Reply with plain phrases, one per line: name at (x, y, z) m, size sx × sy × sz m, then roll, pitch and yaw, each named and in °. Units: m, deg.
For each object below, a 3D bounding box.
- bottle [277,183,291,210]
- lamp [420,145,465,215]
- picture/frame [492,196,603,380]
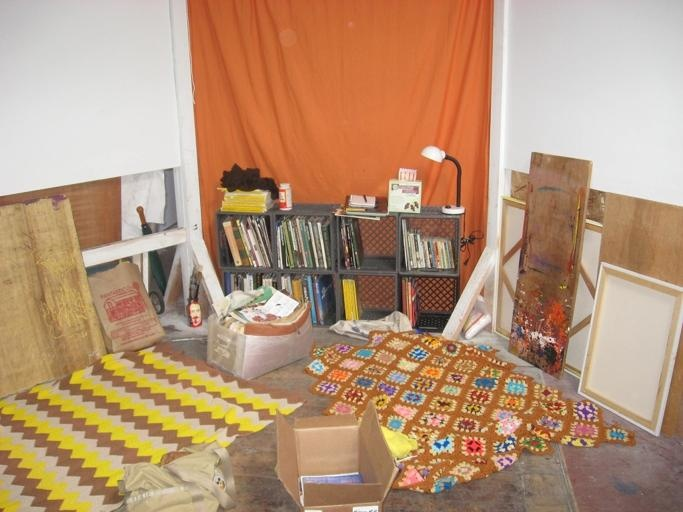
bottle at (-0.543, -0.581, 4.802) m, size 0.137 × 0.247 × 0.233 m, roll -5°, pitch 18°, yaw -7°
lamp at (0.938, -0.709, 4.588) m, size 0.364 × 0.617 × 0.513 m, roll 2°, pitch 18°, yaw 14°
picture/frame at (1.691, 0.257, 4.040) m, size 0.060 × 1.718 × 1.208 m, roll -2°, pitch 10°, yaw -28°
